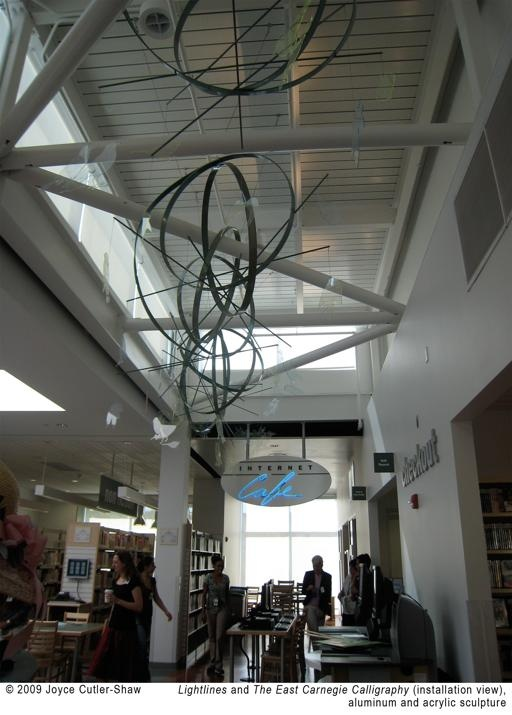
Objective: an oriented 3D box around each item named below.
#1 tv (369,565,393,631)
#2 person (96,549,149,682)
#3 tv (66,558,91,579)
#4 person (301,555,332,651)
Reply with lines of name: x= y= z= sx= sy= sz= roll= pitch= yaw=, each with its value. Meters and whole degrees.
tv: x=0.966 y=1.842 z=3.446 sx=0.187 sy=0.471 sz=0.364 roll=-4 pitch=-24 yaw=14
person: x=-1.050 y=2.044 z=3.595 sx=0.404 sy=0.953 sz=0.284 roll=4 pitch=-9 yaw=-10
tv: x=-2.902 y=3.424 z=7.354 sx=0.275 sy=0.255 sz=0.099 roll=-1 pitch=-17 yaw=3
person: x=0.988 y=3.902 z=7.230 sx=0.441 sy=1.346 sz=0.386 roll=5 pitch=-4 yaw=-3
